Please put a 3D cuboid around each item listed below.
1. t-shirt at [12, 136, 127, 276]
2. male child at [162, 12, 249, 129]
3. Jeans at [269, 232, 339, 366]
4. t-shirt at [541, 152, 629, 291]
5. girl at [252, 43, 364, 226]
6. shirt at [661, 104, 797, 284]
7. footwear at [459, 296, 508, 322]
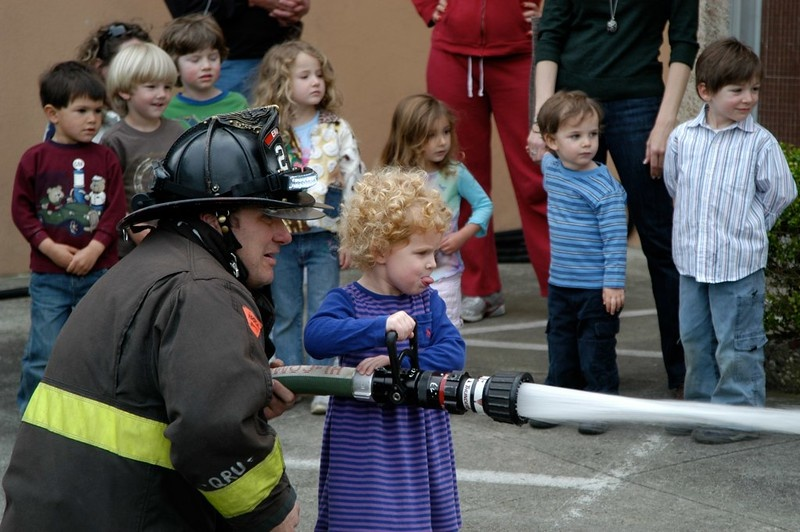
[{"bbox_3d":[-2.006,-0.374,6.384,0.861,1.016,0.562,-2,6,-17],"label":"t-shirt"},{"bbox_3d":[-1.401,-1.262,7.246,0.703,0.861,0.466,-11,10,-21],"label":"male child"},{"bbox_3d":[-0.628,0.281,6.801,0.365,1.169,0.264,-6,-41,-5],"label":"Jeans"},{"bbox_3d":[1.140,-0.280,6.311,0.280,0.611,0.787,-17,27,-28],"label":"t-shirt"},{"bbox_3d":[-0.564,-0.636,6.880,0.664,1.631,0.554,-4,1,-3],"label":"girl"},{"bbox_3d":[1.906,-0.386,6.066,0.992,1.139,0.600,5,8,28],"label":"shirt"},{"bbox_3d":[0.683,0.344,8.340,0.407,0.197,0.148,-2,7,-44],"label":"footwear"}]
